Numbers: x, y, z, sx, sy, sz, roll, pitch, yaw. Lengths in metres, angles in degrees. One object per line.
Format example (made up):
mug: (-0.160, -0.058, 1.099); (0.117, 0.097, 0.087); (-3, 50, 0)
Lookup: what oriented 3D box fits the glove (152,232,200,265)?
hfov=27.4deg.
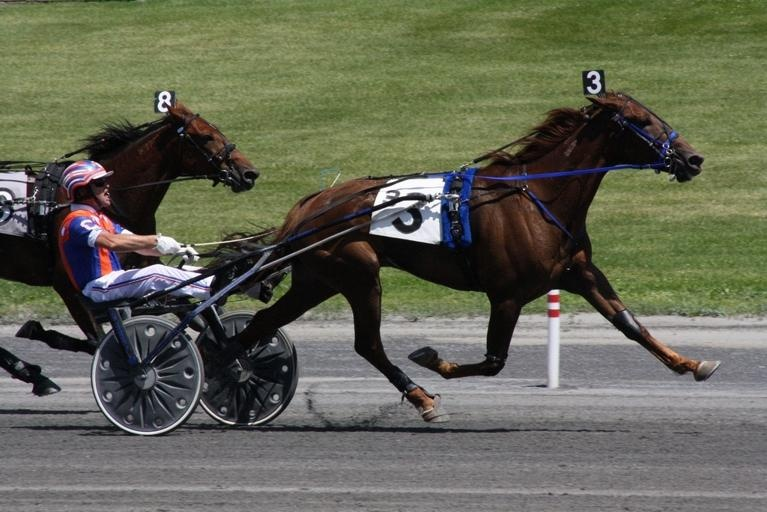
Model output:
glove: (-2.745, -0.093, 21.066); (0.589, 0.144, 0.421); (17, -1, -38)
